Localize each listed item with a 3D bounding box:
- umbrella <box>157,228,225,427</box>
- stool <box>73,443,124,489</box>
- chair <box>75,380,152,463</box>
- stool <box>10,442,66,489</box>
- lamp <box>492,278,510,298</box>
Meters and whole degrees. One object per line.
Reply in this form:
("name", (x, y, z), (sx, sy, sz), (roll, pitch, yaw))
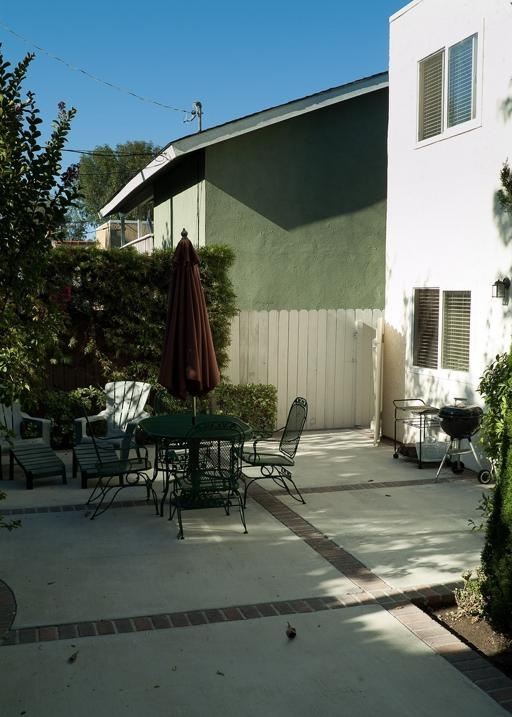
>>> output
("umbrella", (-0.736, -0.361, 6.965), (0.537, 1.984, 0.532), (1, 1, 27))
("stool", (-2.200, 1.271, 8.763), (0.702, 0.679, 1.273), (10, -9, -18))
("chair", (-2.013, 0.942, 9.167), (0.849, 1.248, 0.901), (0, -4, 35))
("stool", (-2.776, 1.265, 8.132), (0.551, 0.490, 0.717), (-4, 9, -39))
("lamp", (3.120, -0.869, 8.058), (0.220, 0.325, 0.203), (1, 0, 40))
